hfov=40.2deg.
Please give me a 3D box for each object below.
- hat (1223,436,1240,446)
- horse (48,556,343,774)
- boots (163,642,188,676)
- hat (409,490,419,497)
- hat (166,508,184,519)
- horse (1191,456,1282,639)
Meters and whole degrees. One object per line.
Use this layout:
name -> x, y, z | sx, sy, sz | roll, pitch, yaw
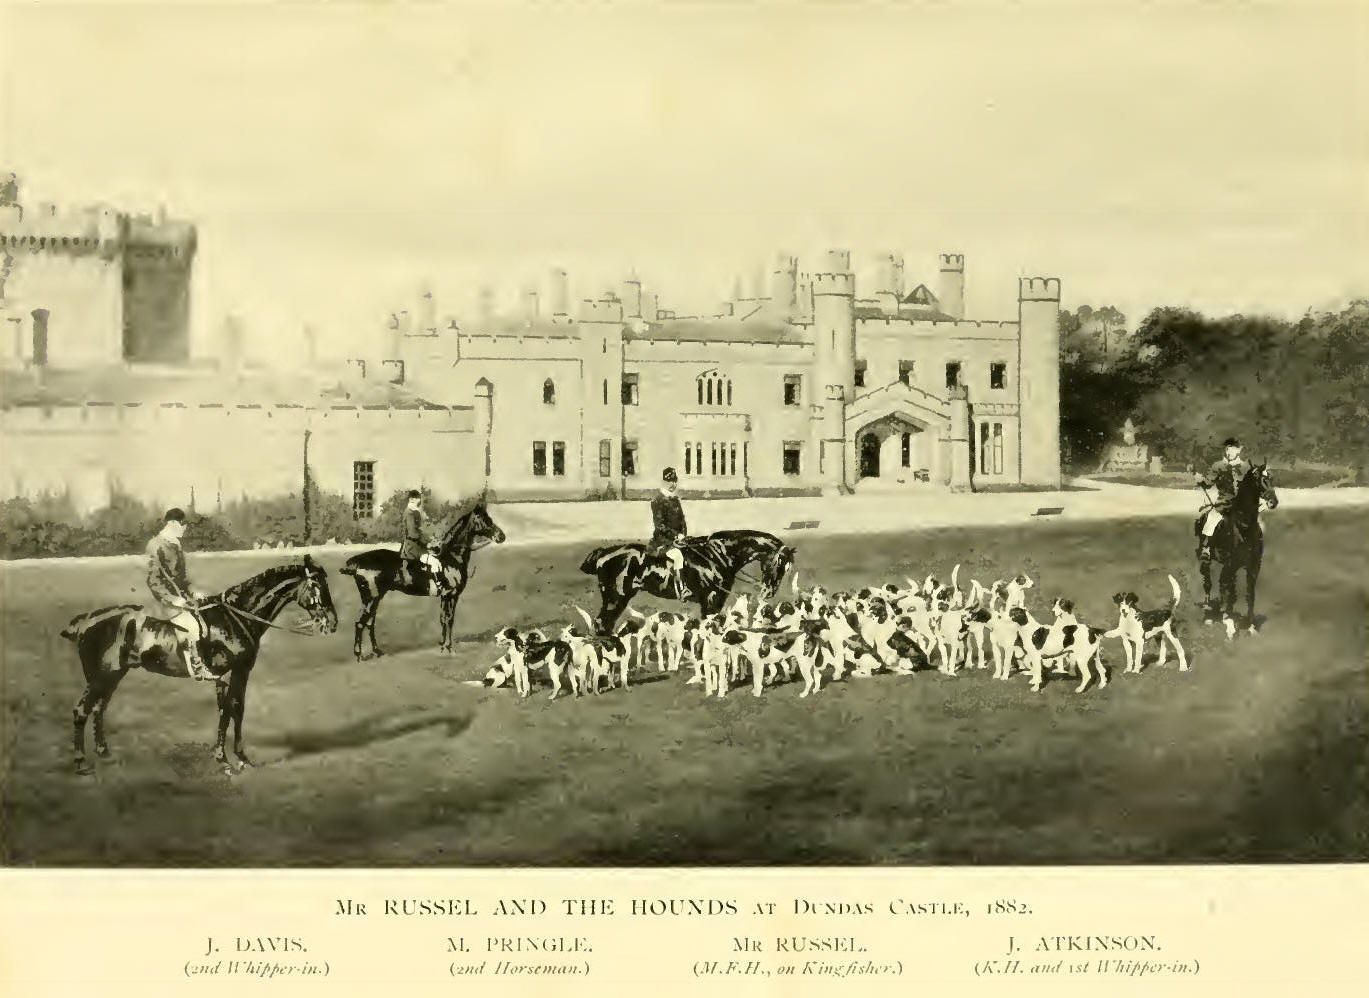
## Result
hat -> 6.937, -0.734, 23.746 | 0.182, 0.099, 0.225 | 3, 1, 40
horse -> -5.370, 1.901, 22.014 | 3.195, 2.364, 0.863 | -2, -5, 42
boots -> -5.800, 1.810, 21.427 | 0.265, 0.407, 0.239 | 0, 1, -15
hat -> -3.410, -0.068, 23.625 | 0.100, 0.090, 0.098 | 5, -6, -36
hat -> -5.873, 0.176, 21.564 | 0.155, 0.108, 0.152 | 3, 0, -6
horse -> 6.846, 0.612, 23.290 | 0.964, 2.160, 0.726 | 0, 1, 21
